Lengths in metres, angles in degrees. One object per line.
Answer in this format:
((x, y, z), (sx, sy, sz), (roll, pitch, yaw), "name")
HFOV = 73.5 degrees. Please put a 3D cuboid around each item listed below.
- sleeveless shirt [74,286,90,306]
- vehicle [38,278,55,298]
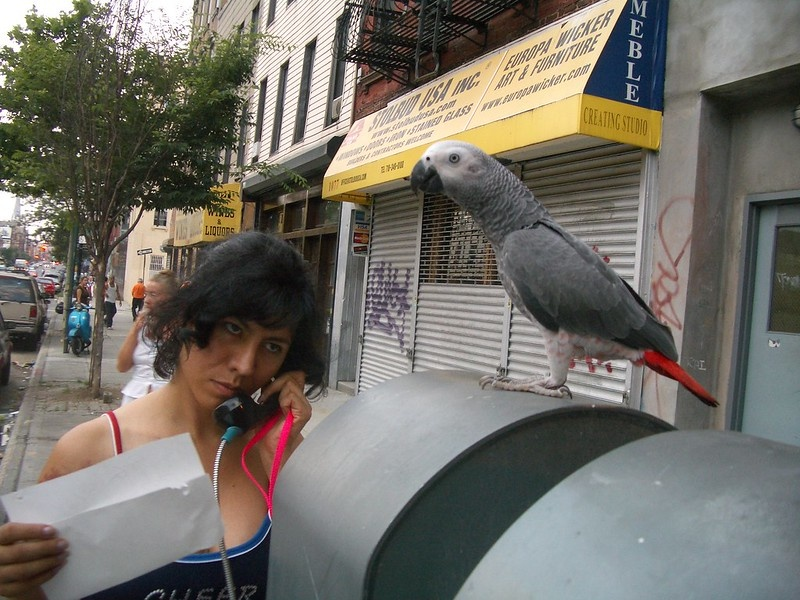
((-11.548, -0.132, 19.461), (0.444, 0.821, 0.833), (-2, 2, -8), "sleeveless shirt")
((-19.367, -0.635, 29.388), (1.023, 0.843, 2.426), (-1, 6, -32), "vehicle")
